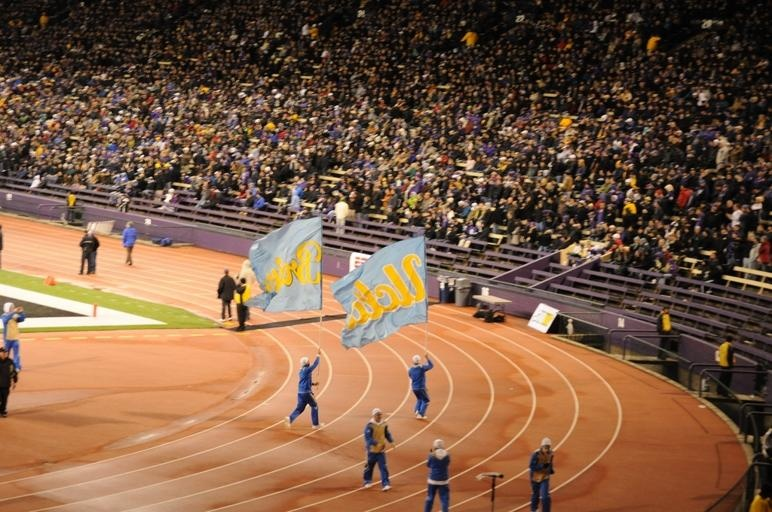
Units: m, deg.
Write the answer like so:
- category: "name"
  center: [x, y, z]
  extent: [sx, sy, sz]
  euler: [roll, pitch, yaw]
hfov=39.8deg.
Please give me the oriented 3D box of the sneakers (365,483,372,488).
- category: "sneakers"
  center: [-0.619, 7.404, 34.644]
  extent: [0.214, 0.073, 0.130]
  euler: [-4, 1, -10]
